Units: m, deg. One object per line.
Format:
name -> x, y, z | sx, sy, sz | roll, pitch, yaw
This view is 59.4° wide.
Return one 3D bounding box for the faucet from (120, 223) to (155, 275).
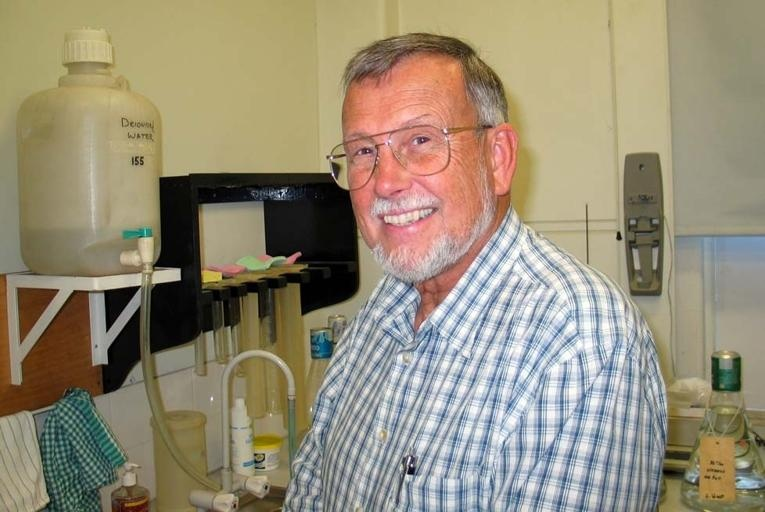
faucet -> -0.689, -0.020, 1.888 | 0.084, 0.129, 0.045 | 7, 24, -12
